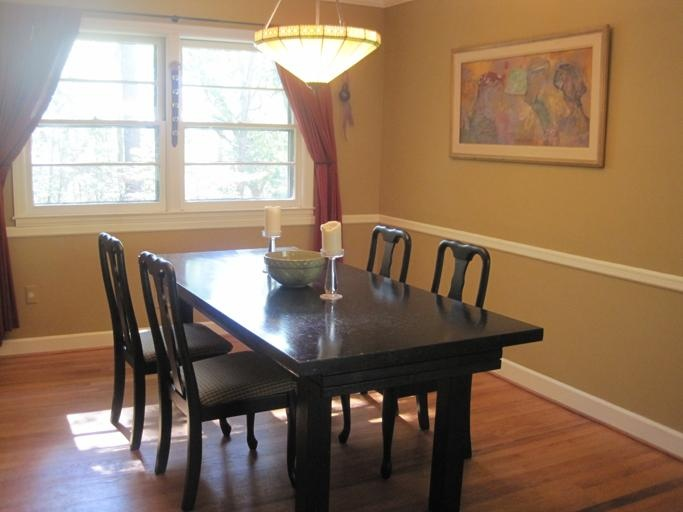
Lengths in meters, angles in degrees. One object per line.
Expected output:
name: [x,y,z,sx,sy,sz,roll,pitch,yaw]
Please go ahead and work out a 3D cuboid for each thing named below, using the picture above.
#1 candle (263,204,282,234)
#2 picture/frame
candle: [-0.426,-0.208,3.355,0.092,0.196,0.155,1,12,-2]
picture/frame: [1.303,-1.092,3.669,0.046,0.739,1.090,-2,8,-35]
